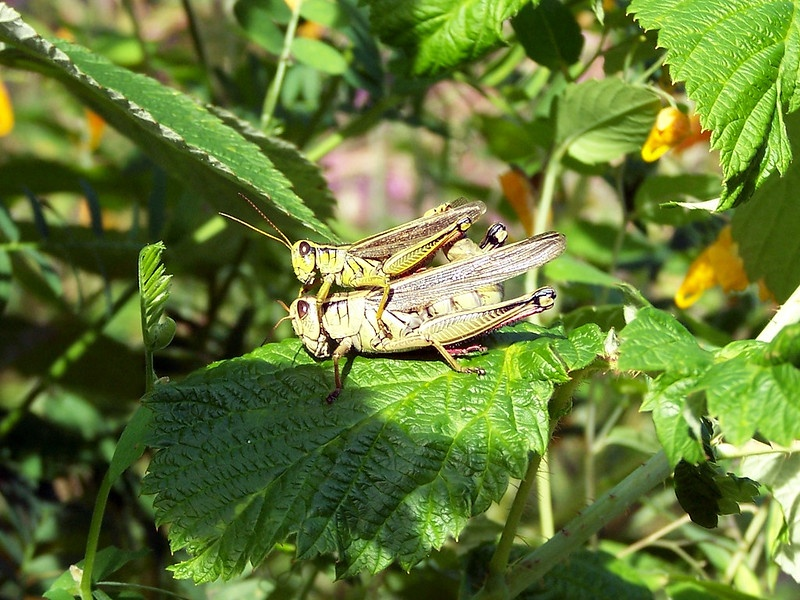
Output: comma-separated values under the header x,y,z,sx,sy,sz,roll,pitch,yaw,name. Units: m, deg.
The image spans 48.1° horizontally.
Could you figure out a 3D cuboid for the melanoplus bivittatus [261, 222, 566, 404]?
x,y,z,sx,sy,sz,roll,pitch,yaw,name
0.045,-0.024,1.903,0.495,0.362,0.190,-24,96,1,melanoplus bivittatus
